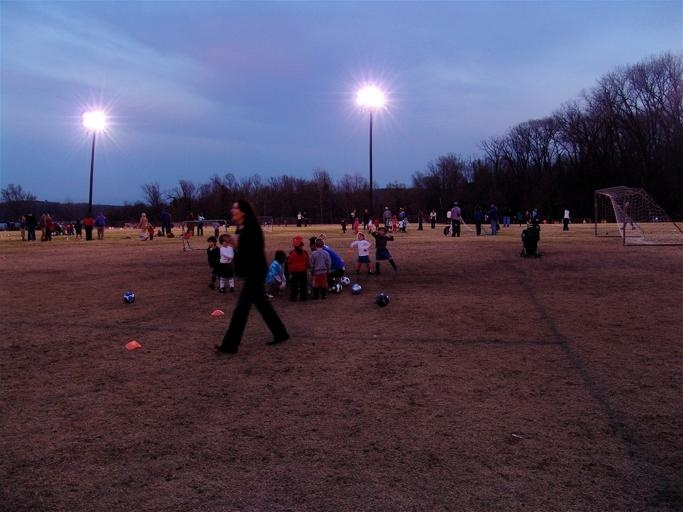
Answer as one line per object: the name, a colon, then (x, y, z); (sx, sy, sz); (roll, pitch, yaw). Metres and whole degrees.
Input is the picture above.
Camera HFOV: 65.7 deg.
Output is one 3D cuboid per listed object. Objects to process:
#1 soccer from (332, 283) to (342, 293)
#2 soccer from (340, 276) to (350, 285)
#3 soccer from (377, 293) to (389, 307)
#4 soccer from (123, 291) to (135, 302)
soccer: (-0.127, 0.755, 12.587); (0.165, 0.217, 0.524); (-1, -3, 2)
soccer: (0.085, 0.630, 13.153); (0.143, 0.204, 0.199); (9, 10, -3)
soccer: (0.822, 0.892, 10.861); (0.253, 0.223, 0.362); (1, 10, 14)
soccer: (-4.649, 0.863, 11.486); (0.203, 0.276, 0.271); (7, 13, -1)
